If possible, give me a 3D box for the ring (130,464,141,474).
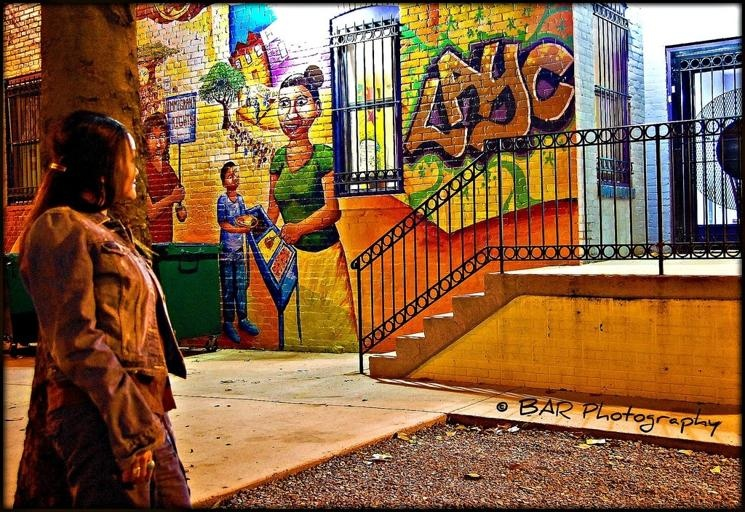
[{"bbox_3d":[-0.995,0.898,2.769,0.038,0.046,0.006,-7,10,-41],"label":"ring"}]

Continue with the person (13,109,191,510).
[{"bbox_3d":[-1.239,0.266,2.914,0.758,1.813,0.545,-1,8,-4],"label":"person"}]
